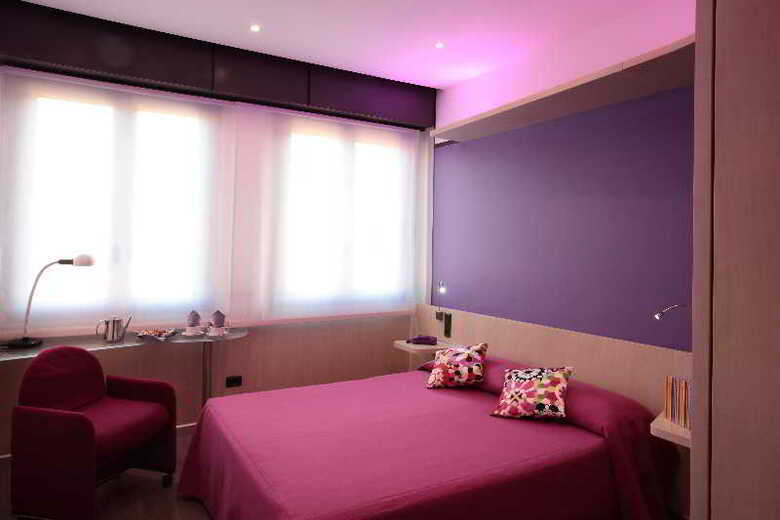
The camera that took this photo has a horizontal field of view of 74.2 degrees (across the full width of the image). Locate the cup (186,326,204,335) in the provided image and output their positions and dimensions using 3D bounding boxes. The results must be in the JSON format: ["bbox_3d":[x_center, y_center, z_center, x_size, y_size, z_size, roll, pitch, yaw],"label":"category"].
[{"bbox_3d":[-1.732,0.626,4.598,0.083,0.058,0.147,-1,-4,17],"label":"cup"}]

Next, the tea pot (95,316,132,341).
[{"bbox_3d":[-2.399,0.594,4.398,0.297,0.213,0.151,4,-3,-44],"label":"tea pot"}]

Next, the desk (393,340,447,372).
[{"bbox_3d":[0.271,0.951,5.327,0.381,0.430,0.440,2,-1,-22],"label":"desk"}]
